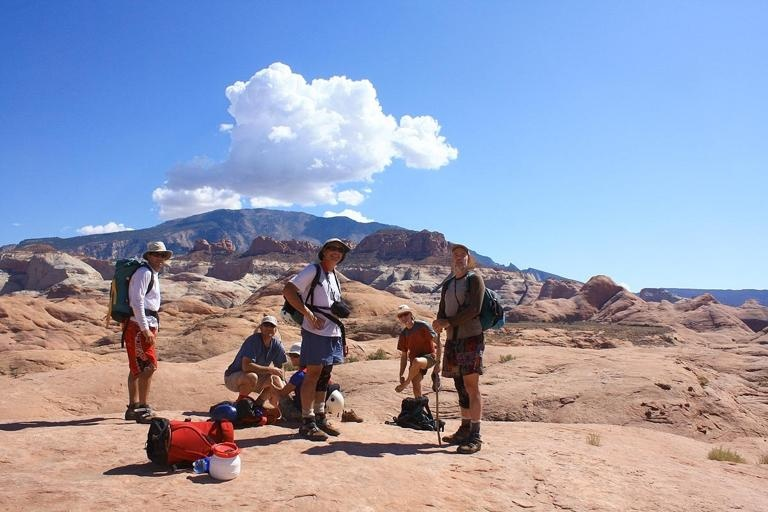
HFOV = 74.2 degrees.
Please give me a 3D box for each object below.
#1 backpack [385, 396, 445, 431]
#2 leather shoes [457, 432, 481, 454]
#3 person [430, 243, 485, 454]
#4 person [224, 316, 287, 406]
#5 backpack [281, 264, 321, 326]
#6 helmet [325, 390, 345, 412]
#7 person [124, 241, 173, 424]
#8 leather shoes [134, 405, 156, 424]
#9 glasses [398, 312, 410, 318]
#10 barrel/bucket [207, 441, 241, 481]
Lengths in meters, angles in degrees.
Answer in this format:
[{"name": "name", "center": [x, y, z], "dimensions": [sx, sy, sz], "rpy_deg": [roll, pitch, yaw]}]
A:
[{"name": "backpack", "center": [0.549, 2.814, 9.056], "dimensions": [0.761, 0.342, 0.563], "rpy_deg": [16, -15, -31]}, {"name": "leather shoes", "center": [1.316, 2.848, 7.795], "dimensions": [0.273, 0.277, 0.461], "rpy_deg": [0, -4, 25]}, {"name": "person", "center": [1.190, 1.403, 7.980], "dimensions": [0.758, 3.171, 0.783], "rpy_deg": [2, -5, 10]}, {"name": "person", "center": [-2.210, 1.904, 8.937], "dimensions": [1.197, 1.571, 1.090], "rpy_deg": [8, -11, -16]}, {"name": "backpack", "center": [-1.286, 0.580, 7.812], "dimensions": [0.592, 0.968, 0.414], "rpy_deg": [2, -5, 7]}, {"name": "helmet", "center": [-0.894, 2.607, 9.239], "dimensions": [0.336, 0.347, 0.388], "rpy_deg": [2, 13, -7]}, {"name": "person", "center": [-4.008, 1.229, 8.490], "dimensions": [0.596, 2.988, 0.634], "rpy_deg": [4, -5, -14]}, {"name": "leather shoes", "center": [-3.984, 2.609, 8.439], "dimensions": [0.301, 0.268, 0.381], "rpy_deg": [4, -5, -25]}, {"name": "glasses", "center": [0.402, 1.162, 10.080], "dimensions": [0.238, 0.140, 0.167], "rpy_deg": [2, -4, 2]}, {"name": "barrel/bucket", "center": [-2.175, 2.805, 6.947], "dimensions": [0.450, 0.344, 0.430], "rpy_deg": [8, -2, 0]}]
